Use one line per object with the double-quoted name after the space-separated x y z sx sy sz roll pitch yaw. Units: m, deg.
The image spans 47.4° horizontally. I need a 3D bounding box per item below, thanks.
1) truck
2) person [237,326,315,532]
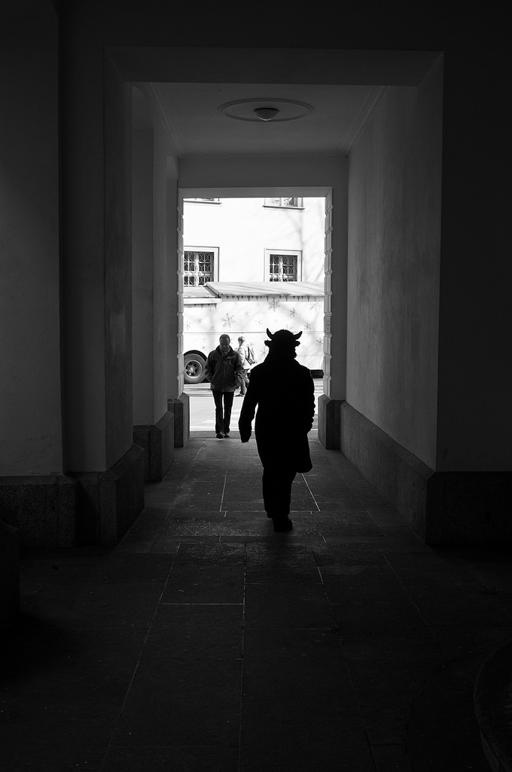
-0.416 -2.262 22.309 6.016 4.817 2.703 -2 12 -11 "truck"
0.200 0.407 5.432 0.670 1.854 0.309 0 -1 -2 "person"
